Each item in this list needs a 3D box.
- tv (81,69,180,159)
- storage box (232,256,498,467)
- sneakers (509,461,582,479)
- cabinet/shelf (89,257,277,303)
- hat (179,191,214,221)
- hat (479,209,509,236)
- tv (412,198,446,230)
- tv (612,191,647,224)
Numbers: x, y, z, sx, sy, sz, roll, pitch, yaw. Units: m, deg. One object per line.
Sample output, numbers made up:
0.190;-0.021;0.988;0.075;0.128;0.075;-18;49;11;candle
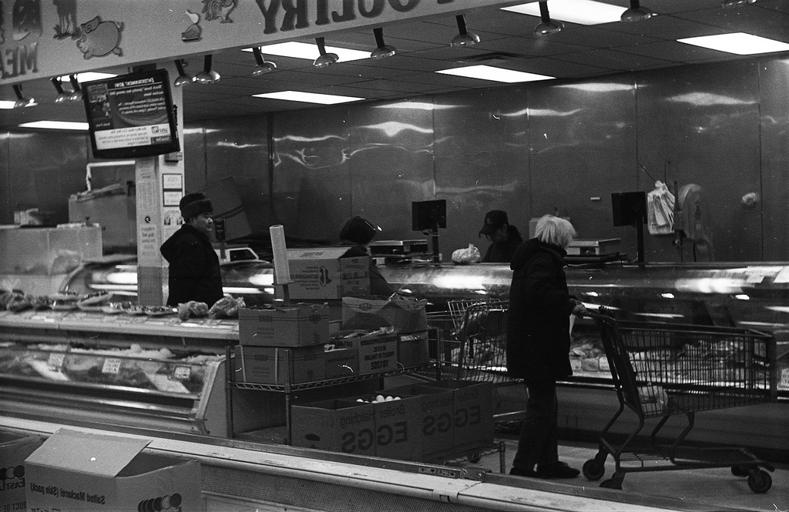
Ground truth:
-2.397;-1.280;6.776;1.025;0.745;0.079;-1;7;24;tv
-0.201;0.661;4.712;1.301;0.776;1.303;2;1;40;storage box
0.891;1.268;4.398;0.424;0.139;0.135;-5;-6;18;sneakers
-1.794;0.211;6.737;1.067;0.280;0.755;1;1;22;cabinet/shelf
-1.594;-0.398;5.867;0.288;0.201;0.207;-9;5;10;hat
0.643;-0.212;4.741;0.163;0.176;0.217;-4;6;-3;hat
0.223;-0.265;4.788;0.232;0.208;0.255;-4;6;-2;tv
1.330;-0.280;4.171;0.194;0.171;0.075;-2;-9;32;tv
